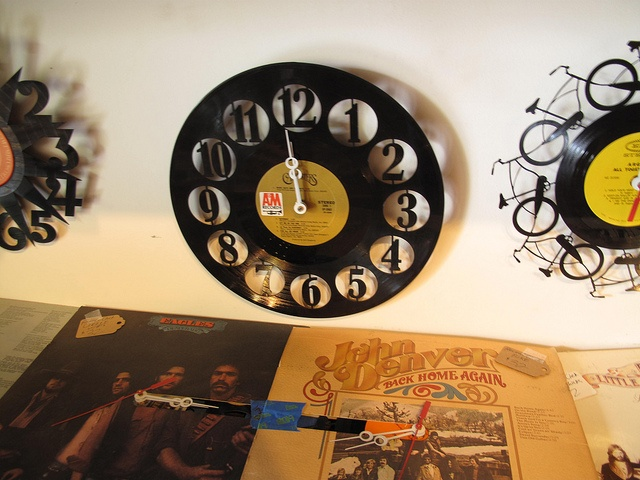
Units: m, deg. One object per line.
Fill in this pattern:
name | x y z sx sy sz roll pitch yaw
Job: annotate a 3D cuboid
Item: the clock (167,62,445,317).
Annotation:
clock | -0.023 -0.177 1.413 0.854 0.062 0.712 10 -67 5
